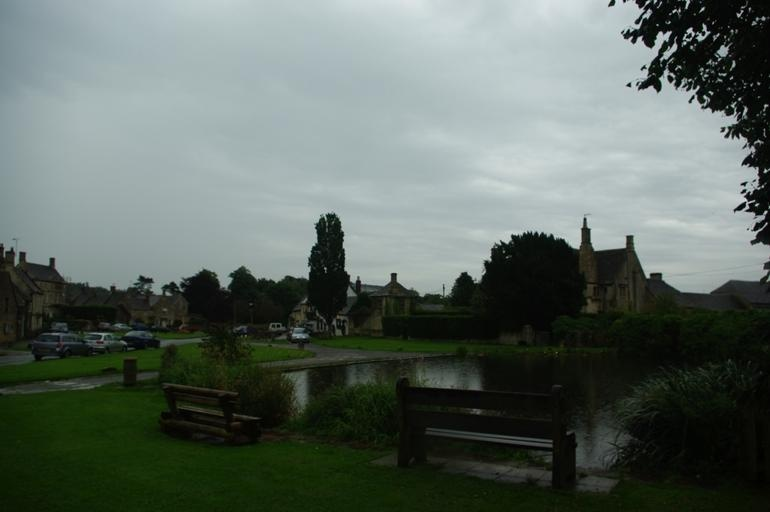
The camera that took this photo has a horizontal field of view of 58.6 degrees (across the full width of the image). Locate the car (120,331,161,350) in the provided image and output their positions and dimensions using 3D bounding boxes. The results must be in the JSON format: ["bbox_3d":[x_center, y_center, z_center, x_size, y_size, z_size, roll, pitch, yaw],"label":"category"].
[{"bbox_3d":[-17.374,6.002,48.683,1.166,0.818,2.553,2,-13,0],"label":"car"}]

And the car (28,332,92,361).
[{"bbox_3d":[-18.563,5.086,39.320,1.460,1.053,2.926,1,-1,7],"label":"car"}]

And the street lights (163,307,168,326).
[{"bbox_3d":[-36.610,9.967,113.982,0.855,2.615,0.447,3,-6,-26],"label":"street lights"}]

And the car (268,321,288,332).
[{"bbox_3d":[-12.636,8.278,79.661,1.677,1.316,2.651,-2,-11,7],"label":"car"}]

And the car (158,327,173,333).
[{"bbox_3d":[-28.388,9.617,88.088,1.551,0.652,0.981,2,-5,-12],"label":"car"}]

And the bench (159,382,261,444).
[{"bbox_3d":[-4.131,3.693,16.212,2.387,1.219,0.989,-3,-6,34],"label":"bench"}]

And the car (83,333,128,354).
[{"bbox_3d":[-17.883,5.485,43.571,1.182,0.964,2.609,1,0,10],"label":"car"}]
